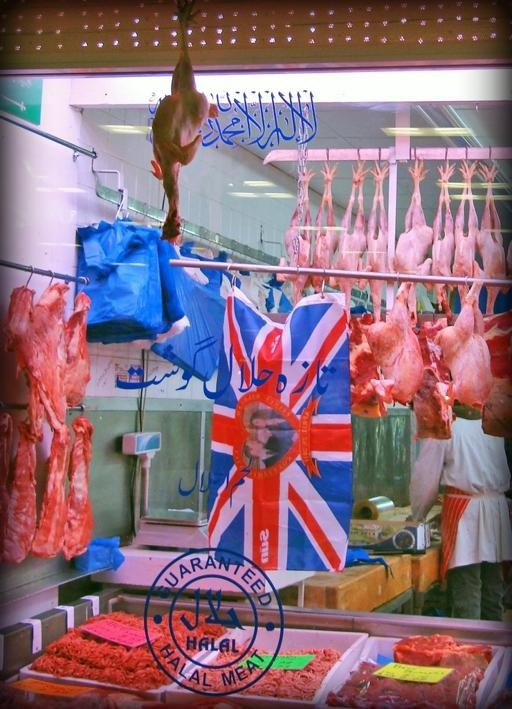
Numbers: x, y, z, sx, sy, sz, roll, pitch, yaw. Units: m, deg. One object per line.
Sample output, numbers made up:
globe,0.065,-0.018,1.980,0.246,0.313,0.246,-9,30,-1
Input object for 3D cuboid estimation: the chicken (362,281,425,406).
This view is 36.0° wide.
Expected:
chicken,0.435,-0.042,2.537,0.155,0.373,0.177,7,8,9

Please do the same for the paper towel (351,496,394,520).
paper towel,0.394,0.514,2.641,0.175,0.082,0.042,1,-2,-38

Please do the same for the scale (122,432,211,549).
scale,-0.312,0.464,2.646,0.072,0.408,0.426,1,-3,-43
